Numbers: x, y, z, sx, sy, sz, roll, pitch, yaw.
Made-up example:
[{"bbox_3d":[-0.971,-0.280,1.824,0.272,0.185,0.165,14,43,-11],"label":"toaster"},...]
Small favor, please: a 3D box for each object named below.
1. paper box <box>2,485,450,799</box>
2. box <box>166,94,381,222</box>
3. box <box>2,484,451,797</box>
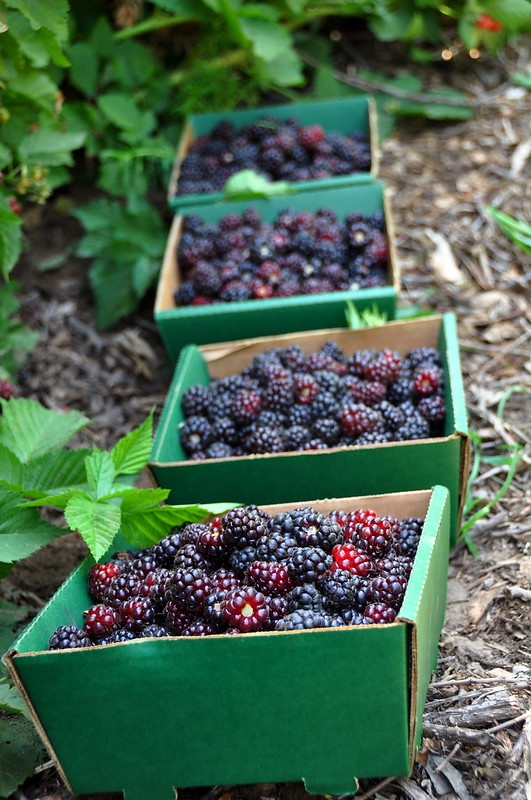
[{"bbox_3d":[-0.032,0.548,1.393,0.733,0.328,0.553,-12,17,18],"label":"paper box"},{"bbox_3d":[0.050,-1.067,3.256,0.950,0.285,0.536,-5,48,3],"label":"box"},{"bbox_3d":[-0.038,0.542,1.393,0.739,0.329,0.547,-12,17,18],"label":"box"}]
